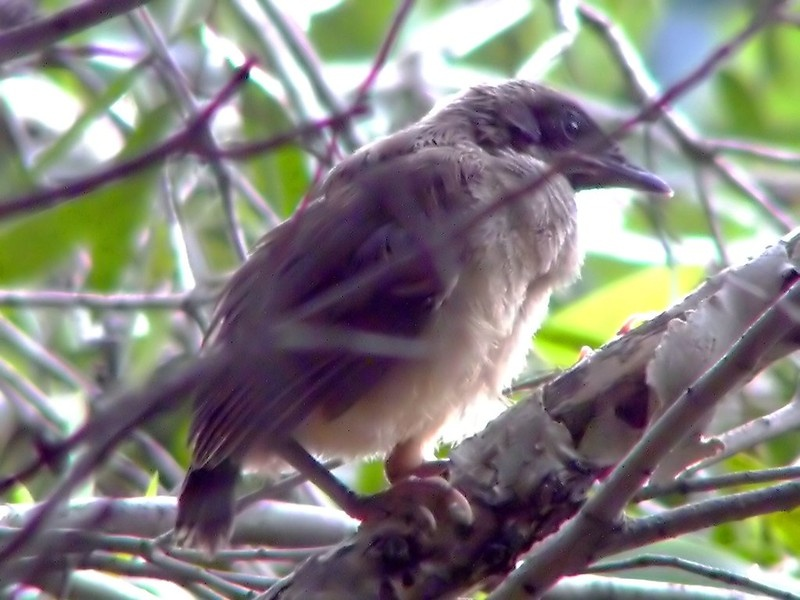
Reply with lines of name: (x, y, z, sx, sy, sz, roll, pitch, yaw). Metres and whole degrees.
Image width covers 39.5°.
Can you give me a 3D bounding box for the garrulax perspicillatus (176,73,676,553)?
garrulax perspicillatus: (0.022, 0.005, 3.135, 1.268, 1.172, 0.766, -4, -11, 6)
